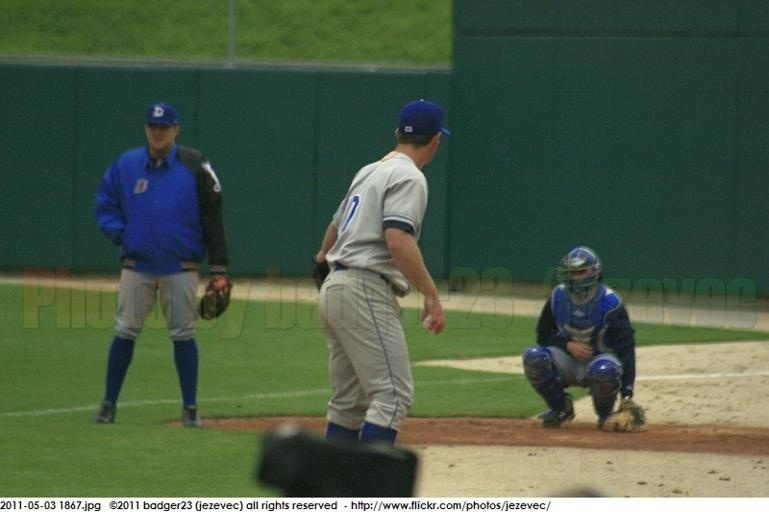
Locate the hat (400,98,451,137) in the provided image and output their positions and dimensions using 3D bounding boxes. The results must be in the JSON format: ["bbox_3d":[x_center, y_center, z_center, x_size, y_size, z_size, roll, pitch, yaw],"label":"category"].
[{"bbox_3d":[0.305,-1.001,10.189,0.304,0.239,0.452,12,16,29],"label":"hat"}]

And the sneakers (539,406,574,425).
[{"bbox_3d":[1.388,1.302,11.494,0.290,0.129,0.116,-10,6,4],"label":"sneakers"}]

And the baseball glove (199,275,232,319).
[{"bbox_3d":[-1.289,0.341,11.223,0.325,0.321,0.235,-11,-21,30],"label":"baseball glove"}]

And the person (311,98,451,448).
[{"bbox_3d":[-0.011,0.218,9.972,0.873,2.506,0.996,0,15,-3],"label":"person"}]

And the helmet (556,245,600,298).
[{"bbox_3d":[1.566,0.132,11.328,0.318,0.414,0.403,1,5,22],"label":"helmet"}]

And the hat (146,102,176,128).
[{"bbox_3d":[-1.716,-1.094,11.005,0.219,0.165,0.177,-2,15,-9],"label":"hat"}]

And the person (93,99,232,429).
[{"bbox_3d":[-1.723,0.077,11.062,1.061,2.460,0.644,-1,15,-7],"label":"person"}]

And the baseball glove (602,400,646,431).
[{"bbox_3d":[1.907,1.279,11.254,0.306,0.297,0.200,-2,14,1],"label":"baseball glove"}]

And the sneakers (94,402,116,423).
[{"bbox_3d":[-2.162,1.234,11.111,0.107,0.133,0.209,7,-3,5],"label":"sneakers"}]

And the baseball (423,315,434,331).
[{"bbox_3d":[0.319,0.475,9.952,0.071,0.093,0.028,3,-4,4],"label":"baseball"}]
